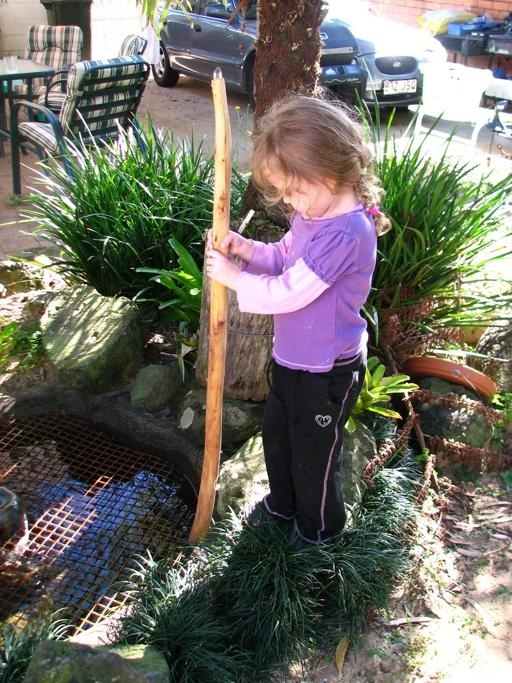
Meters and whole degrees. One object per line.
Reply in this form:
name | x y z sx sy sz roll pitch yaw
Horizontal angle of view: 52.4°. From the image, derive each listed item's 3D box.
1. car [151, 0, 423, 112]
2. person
car | 0.140 -3.499 6.329 3.250 1.254 1.640 18 22 35
person | 0.084 -0.007 1.310 0.432 1.117 0.328 10 19 11
